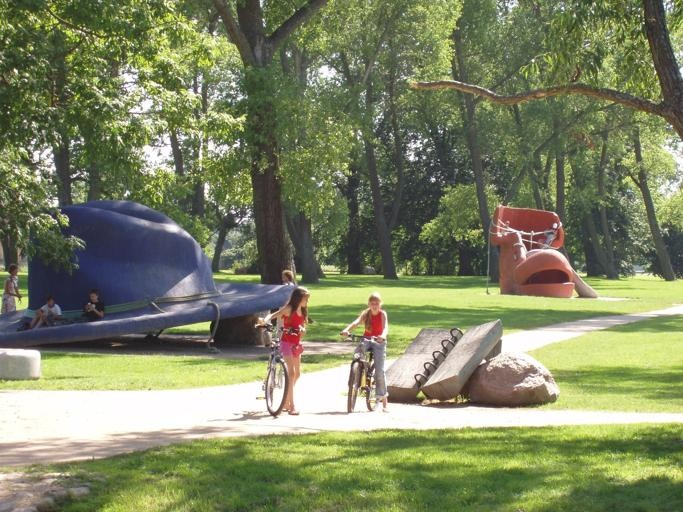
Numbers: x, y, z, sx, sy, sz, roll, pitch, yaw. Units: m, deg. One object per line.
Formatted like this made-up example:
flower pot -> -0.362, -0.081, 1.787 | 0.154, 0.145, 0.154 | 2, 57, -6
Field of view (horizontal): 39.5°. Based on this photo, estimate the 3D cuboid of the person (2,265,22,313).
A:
person -> -10.009, 1.054, 28.919 | 0.510, 1.369, 2.541 | 0, -8, -20

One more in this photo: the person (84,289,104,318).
person -> -6.930, 1.341, 26.774 | 0.456, 0.517, 0.914 | -4, 39, -1

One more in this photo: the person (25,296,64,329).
person -> -8.254, 1.561, 26.620 | 0.864, 0.918, 0.550 | 0, -6, -11

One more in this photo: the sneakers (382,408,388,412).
sneakers -> 0.854, 3.072, 18.969 | 0.045, 0.064, 0.140 | 1, 6, 9

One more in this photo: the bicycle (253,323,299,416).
bicycle -> -1.257, 2.211, 18.577 | 0.560, 1.793, 0.898 | -1, -6, -4

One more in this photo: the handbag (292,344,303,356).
handbag -> -0.878, 1.873, 18.658 | 0.174, 0.253, 0.246 | 6, 8, 45
